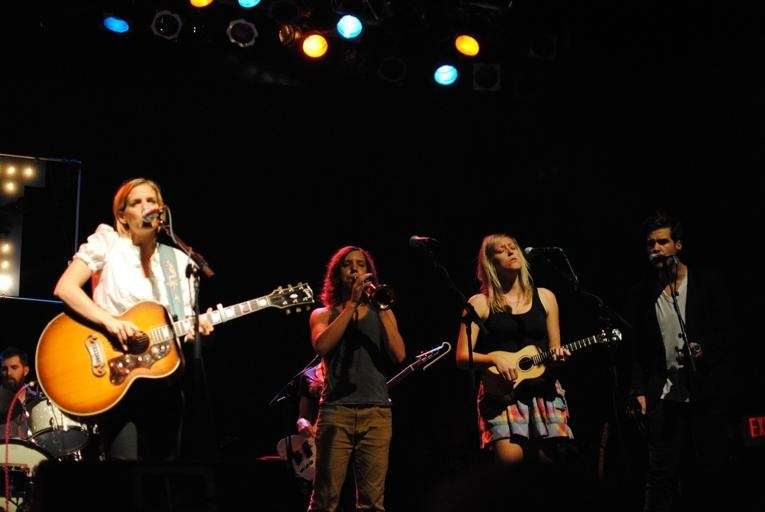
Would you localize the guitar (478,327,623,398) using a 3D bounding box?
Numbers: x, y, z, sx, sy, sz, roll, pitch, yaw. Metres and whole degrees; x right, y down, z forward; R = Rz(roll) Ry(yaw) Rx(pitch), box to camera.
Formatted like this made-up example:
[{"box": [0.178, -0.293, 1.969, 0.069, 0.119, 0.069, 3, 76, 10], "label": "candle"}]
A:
[{"box": [1.611, 0.957, 6.075, 1.475, 0.545, 0.209, -18, -15, -9], "label": "guitar"}]

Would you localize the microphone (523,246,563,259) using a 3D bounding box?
[{"box": [1.558, -0.033, 6.293, 0.352, 0.104, 0.100, -1, 23, 23], "label": "microphone"}]

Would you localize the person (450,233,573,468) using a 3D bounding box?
[{"box": [1.221, 1.013, 5.918, 0.869, 2.421, 0.755, -11, 14, -6], "label": "person"}]

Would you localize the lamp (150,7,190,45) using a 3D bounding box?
[{"box": [-2.118, -2.261, 6.387, 0.305, 0.249, 0.297, 7, -15, -22], "label": "lamp"}]

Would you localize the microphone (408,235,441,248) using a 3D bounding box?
[{"box": [0.307, -0.127, 5.705, 0.132, 0.135, 0.307, -1, 3, -20], "label": "microphone"}]

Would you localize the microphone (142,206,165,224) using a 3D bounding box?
[{"box": [-1.847, -0.329, 5.209, 0.252, 0.131, 0.085, -8, -16, 31], "label": "microphone"}]

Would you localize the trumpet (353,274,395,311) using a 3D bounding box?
[{"box": [-0.079, 0.306, 5.345, 0.226, 0.290, 0.396, 11, -17, -34], "label": "trumpet"}]

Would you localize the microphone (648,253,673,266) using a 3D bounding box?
[{"box": [2.628, 0.034, 6.140, 0.148, 0.060, 0.112, 10, -11, -37], "label": "microphone"}]
